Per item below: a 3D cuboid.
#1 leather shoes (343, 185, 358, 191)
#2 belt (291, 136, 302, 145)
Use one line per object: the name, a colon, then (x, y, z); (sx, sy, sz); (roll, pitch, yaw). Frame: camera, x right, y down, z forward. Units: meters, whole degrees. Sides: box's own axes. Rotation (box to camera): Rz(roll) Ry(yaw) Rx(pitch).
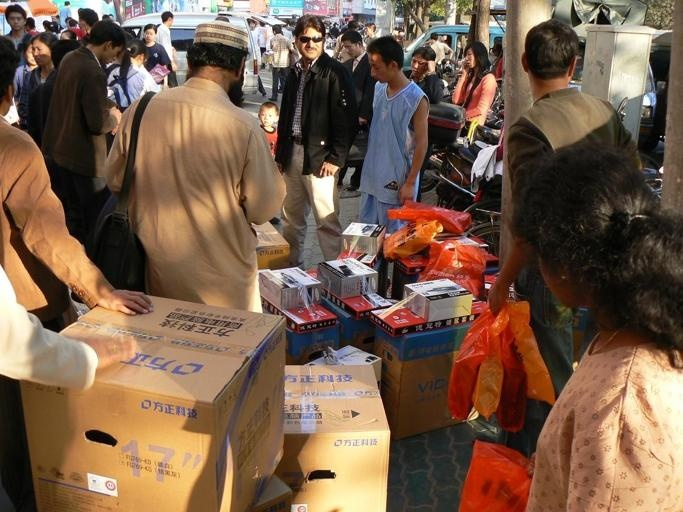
leather shoes: (0.156, -1.075, 9.443); (0.112, 0.102, 0.263); (-3, 7, -42)
belt: (-0.428, -1.125, 5.802); (0.117, 0.074, 0.087); (11, 13, 19)
